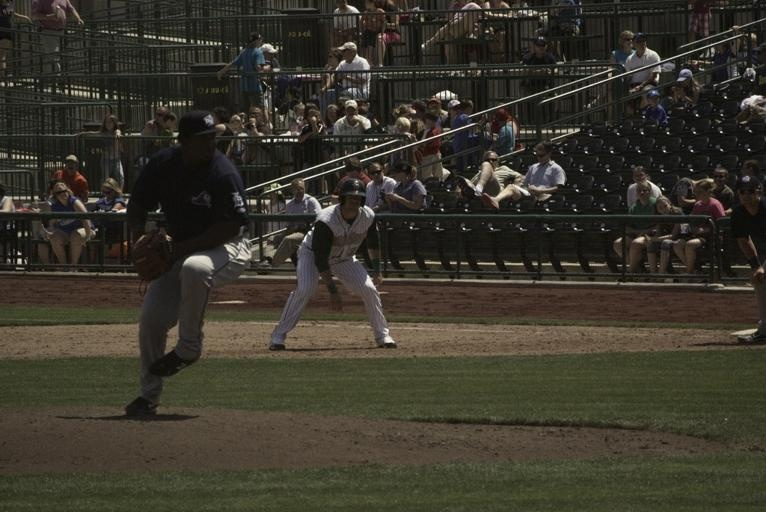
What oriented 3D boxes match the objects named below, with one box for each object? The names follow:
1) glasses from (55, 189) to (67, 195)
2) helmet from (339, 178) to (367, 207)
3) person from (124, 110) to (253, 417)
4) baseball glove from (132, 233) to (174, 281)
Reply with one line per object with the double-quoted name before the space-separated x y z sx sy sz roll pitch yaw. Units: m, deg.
"glasses" -5.812 -1.081 33.752 0.187 0.069 0.024 1 7 -4
"helmet" -0.447 -0.915 28.272 0.335 0.302 0.418 4 -9 -13
"person" -2.638 0.156 25.273 1.594 4.083 0.620 1 7 -6
"baseball glove" -3.081 0.051 25.228 0.522 0.650 0.268 24 5 -3
